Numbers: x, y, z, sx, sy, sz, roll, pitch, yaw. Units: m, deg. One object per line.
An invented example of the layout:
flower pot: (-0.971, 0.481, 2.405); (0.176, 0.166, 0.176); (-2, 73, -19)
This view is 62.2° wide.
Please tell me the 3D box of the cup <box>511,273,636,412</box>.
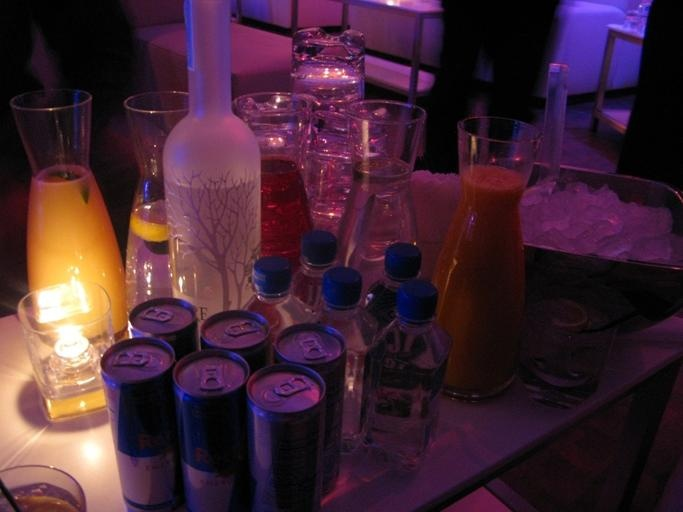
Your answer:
cup: (0.324, 0.119, 0.818); (0.116, 0.176, 0.172); (25, -13, -31)

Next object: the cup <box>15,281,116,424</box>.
cup: (-0.351, 0.122, 0.740); (0.099, 0.171, 0.088); (-12, 26, -31)

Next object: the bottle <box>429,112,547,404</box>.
bottle: (0.189, 0.009, 0.772); (0.125, 0.372, 0.147); (5, 22, 7)

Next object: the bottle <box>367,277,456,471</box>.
bottle: (0.082, 0.146, 0.709); (0.100, 0.227, 0.096); (2, 24, -1)

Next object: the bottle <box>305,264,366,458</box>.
bottle: (0.013, 0.135, 0.714); (0.090, 0.221, 0.088); (-5, 20, 2)
